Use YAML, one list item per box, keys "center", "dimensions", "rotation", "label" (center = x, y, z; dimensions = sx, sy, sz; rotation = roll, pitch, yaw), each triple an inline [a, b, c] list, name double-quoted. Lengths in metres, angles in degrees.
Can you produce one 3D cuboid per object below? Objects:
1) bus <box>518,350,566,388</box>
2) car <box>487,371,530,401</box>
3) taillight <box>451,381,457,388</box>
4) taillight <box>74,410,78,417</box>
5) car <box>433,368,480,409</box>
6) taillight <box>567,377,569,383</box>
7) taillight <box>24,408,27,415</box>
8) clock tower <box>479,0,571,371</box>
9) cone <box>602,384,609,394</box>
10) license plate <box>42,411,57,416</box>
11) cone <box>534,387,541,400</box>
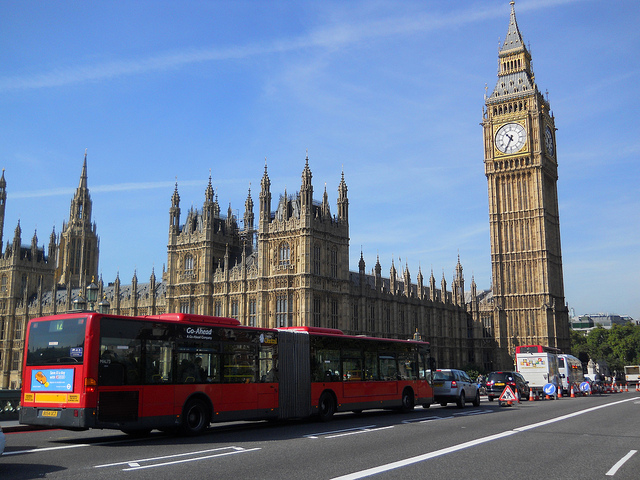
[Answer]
- center: [15.979, 9.595, 57.327]
  dimensions: [2.758, 2.707, 5.176]
  rotation: [-6, -12, 30]
  label: "bus"
- center: [11.544, 8.935, 48.779]
  dimensions: [1.684, 1.321, 2.721]
  rotation: [-6, -10, 31]
  label: "car"
- center: [7.001, 7.520, 41.618]
  dimensions: [0.328, 0.487, 0.242]
  rotation: [-5, 2, -20]
  label: "taillight"
- center: [-8.362, 5.929, 27.227]
  dimensions: [0.153, 0.235, 0.029]
  rotation: [1, -1, 23]
  label: "taillight"
- center: [7.132, 7.852, 42.023]
  dimensions: [3.031, 1.959, 1.529]
  rotation: [3, -2, -41]
  label: "car"
- center: [18.990, 10.656, 60.704]
  dimensions: [0.134, 0.370, 0.230]
  rotation: [1, -1, 6]
  label: "taillight"
- center: [-10.560, 6.129, 28.504]
  dimensions: [0.162, 0.228, 0.031]
  rotation: [0, -2, 43]
  label: "taillight"
- center: [25.738, -8.025, 100.725]
  dimensions: [9.567, 47.878, 10.909]
  rotation: [1, -1, 11]
  label: "clock tower"
- center: [27.571, 14.291, 76.688]
  dimensions: [0.286, 1.142, 0.302]
  rotation: [-10, -20, 34]
  label: "cone"
- center: [-9.456, 6.059, 27.824]
  dimensions: [0.694, 0.219, 0.028]
  rotation: [1, -1, 30]
  label: "license plate"
- center: [14.303, 10.201, 52.285]
  dimensions: [0.484, 0.698, 0.497]
  rotation: [-4, 1, 26]
  label: "cone"
